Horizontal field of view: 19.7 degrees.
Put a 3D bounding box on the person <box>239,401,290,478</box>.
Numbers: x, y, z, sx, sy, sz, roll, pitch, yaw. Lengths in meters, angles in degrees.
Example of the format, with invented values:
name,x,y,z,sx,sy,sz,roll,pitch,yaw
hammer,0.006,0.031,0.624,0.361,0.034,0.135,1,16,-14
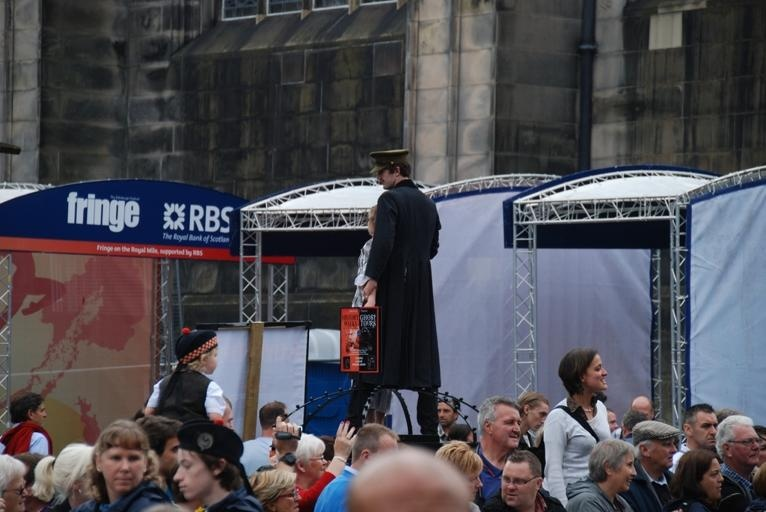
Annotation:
name,x,y,z,sx,sy,sz,roll,pitch,yaw
person,-2.169,3.363,40.036,0.833,1.584,0.623,-15,-41,24

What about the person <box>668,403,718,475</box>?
name,x,y,z,sx,sy,sz,roll,pitch,yaw
person,5.744,3.467,41.175,1.025,1.332,0.737,5,13,23

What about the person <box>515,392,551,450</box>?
name,x,y,z,sx,sy,sz,roll,pitch,yaw
person,2.850,3.060,40.897,0.573,0.949,0.709,2,4,-1

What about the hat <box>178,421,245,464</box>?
name,x,y,z,sx,sy,sz,roll,pitch,yaw
hat,-2.924,3.235,37.734,1.409,0.705,0.916,-5,7,-14

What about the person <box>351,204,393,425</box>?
name,x,y,z,sx,sy,sz,roll,pitch,yaw
person,-0.622,0.819,41.153,0.879,3.957,0.902,19,25,39

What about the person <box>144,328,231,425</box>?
name,x,y,z,sx,sy,sz,roll,pitch,yaw
person,-3.655,2.300,41.407,1.637,2.385,1.052,9,8,25
